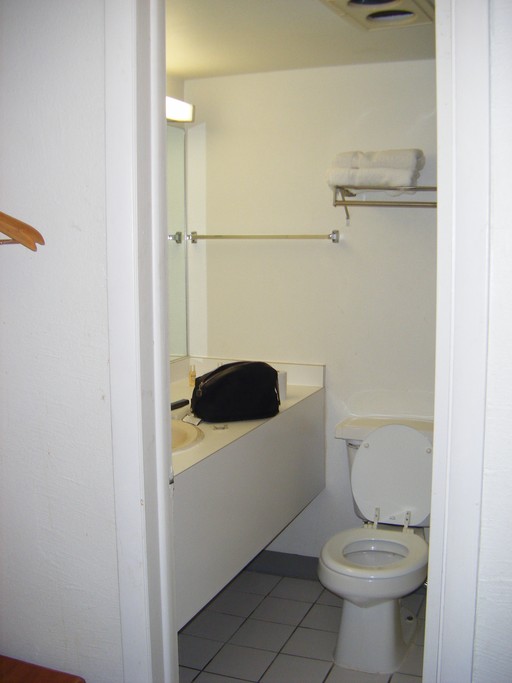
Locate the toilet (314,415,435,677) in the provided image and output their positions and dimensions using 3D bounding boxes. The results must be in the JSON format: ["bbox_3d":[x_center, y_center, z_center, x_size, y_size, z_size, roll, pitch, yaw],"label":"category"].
[{"bbox_3d":[0.466,0.726,2.224,0.381,0.771,0.686,-1,9,17],"label":"toilet"}]
